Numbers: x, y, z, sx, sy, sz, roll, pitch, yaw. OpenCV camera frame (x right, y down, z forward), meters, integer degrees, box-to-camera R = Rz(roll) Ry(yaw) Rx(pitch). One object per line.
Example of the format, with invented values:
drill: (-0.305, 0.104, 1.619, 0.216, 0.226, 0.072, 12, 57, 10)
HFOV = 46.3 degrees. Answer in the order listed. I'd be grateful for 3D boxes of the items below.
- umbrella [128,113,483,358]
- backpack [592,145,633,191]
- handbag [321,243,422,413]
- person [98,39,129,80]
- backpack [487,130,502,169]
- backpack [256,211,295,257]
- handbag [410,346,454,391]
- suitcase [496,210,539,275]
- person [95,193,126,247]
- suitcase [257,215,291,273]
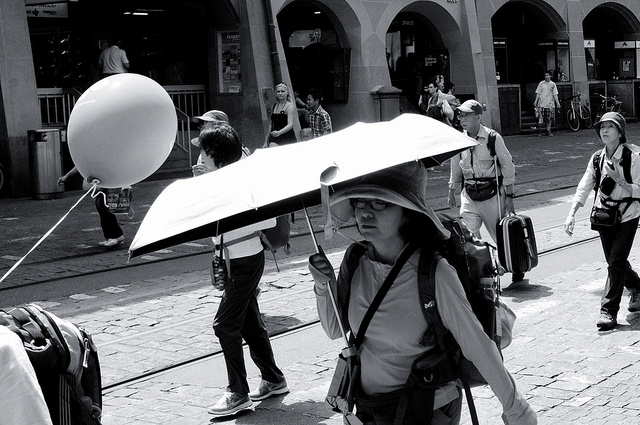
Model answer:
umbrella: (-0.152, -0.231, 4.481, 1.659, 0.951, 1.643, -32, 10, -23)
backpack: (3.282, -0.534, 8.352, 0.379, 0.534, 0.378, -1, 1, 14)
handbag: (0.324, 0.795, 4.762, 0.432, 1.225, 0.175, 31, 17, 23)
person: (-5.399, -3.960, 19.516, 0.719, 0.758, 0.744, -4, 12, -8)
backpack: (2.192, -0.821, 9.489, 0.237, 0.337, 0.125, -24, 22, -39)
backpack: (-0.455, 0.202, 6.671, 0.207, 0.264, 0.284, -33, 10, 40)
handbag: (0.670, 0.957, 4.587, 0.267, 0.257, 0.197, -10, -7, -5)
suitcase: (2.430, 0.432, 9.193, 0.486, 0.751, 0.383, 1, 12, 13)
person: (-3.455, 0.111, 12.334, 0.414, 0.984, 0.802, -5, 12, -15)
suitcase: (-0.389, 0.273, 7.062, 0.444, 0.583, 0.433, -1, 1, -4)
